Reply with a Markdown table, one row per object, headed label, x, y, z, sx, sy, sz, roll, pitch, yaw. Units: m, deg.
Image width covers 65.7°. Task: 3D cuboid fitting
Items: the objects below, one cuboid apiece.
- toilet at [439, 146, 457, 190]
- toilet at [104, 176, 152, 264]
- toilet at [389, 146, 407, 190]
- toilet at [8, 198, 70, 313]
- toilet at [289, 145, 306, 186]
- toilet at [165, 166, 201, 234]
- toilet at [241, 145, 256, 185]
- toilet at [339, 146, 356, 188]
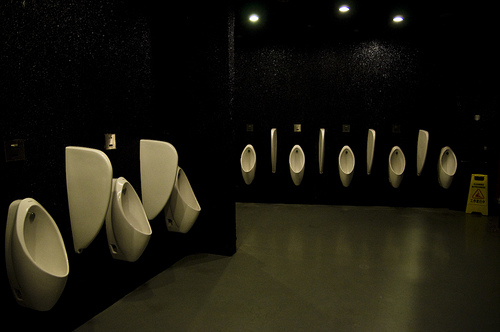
| label | x | y | z | sx | sy | sz | roll | pitch | yaw |
| --- | --- | --- | --- | --- | --- | --- | --- | --- | --- |
| toilet | 2.994 | 0.019 | 5.881 | 0.245 | 0.590 | 0.386 | 11 | 17 | 32 |
| toilet | -1.117 | 0.569 | 3.573 | 0.414 | 0.925 | 0.447 | -5 | 16 | -27 |
| toilet | 2.257 | -0.011 | 5.931 | 0.208 | 0.748 | 0.289 | 0 | -4 | 20 |
| toilet | -1.609 | 0.685 | 2.980 | 0.426 | 0.796 | 0.322 | 8 | 15 | 21 |
| toilet | 0.754 | -0.028 | 6.218 | 0.247 | 0.631 | 0.358 | 0 | -21 | 8 |
| toilet | -0.704 | 0.423 | 4.078 | 0.387 | 0.791 | 0.315 | 7 | 15 | 18 |
| toilet | -0.035 | 0.000 | 6.128 | 0.219 | 0.611 | 0.482 | 2 | 14 | -2 |
| toilet | 1.515 | -0.021 | 6.118 | 0.218 | 0.705 | 0.278 | -1 | -33 | 10 |
